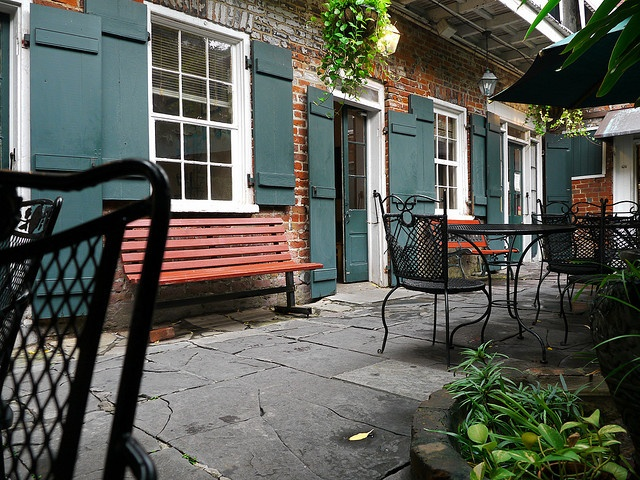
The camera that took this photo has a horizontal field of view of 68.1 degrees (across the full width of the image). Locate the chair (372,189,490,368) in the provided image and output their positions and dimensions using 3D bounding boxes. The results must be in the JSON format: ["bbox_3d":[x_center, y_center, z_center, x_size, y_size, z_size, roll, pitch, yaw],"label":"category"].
[{"bbox_3d":[0.833,0.155,3.979,0.666,1.151,2.469,-1,2,8],"label":"chair"}]

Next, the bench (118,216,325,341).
[{"bbox_3d":[-0.806,0.305,4.104,0.563,0.842,1.677,0,2,43],"label":"bench"}]

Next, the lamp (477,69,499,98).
[{"bbox_3d":[2.562,-2.379,7.145,0.339,0.414,0.211,-2,2,-32],"label":"lamp"}]

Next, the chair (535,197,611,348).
[{"bbox_3d":[2.104,0.188,3.972,0.640,0.989,0.720,-5,-11,22],"label":"chair"}]

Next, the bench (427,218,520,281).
[{"bbox_3d":[2.104,0.078,6.355,1.070,0.624,0.496,0,-8,-33],"label":"bench"}]
